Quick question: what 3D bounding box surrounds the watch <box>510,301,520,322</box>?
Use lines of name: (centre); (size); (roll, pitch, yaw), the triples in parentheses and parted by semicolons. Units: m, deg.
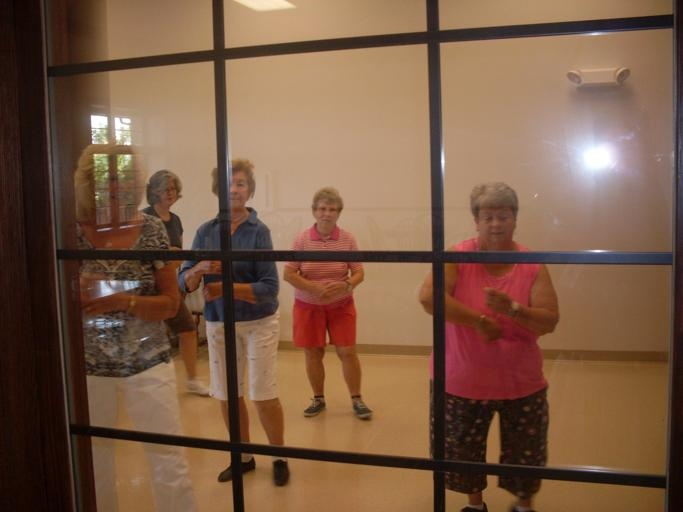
watch: (0.524, 0.166, 1.724); (0.044, 0.064, 0.017); (-1, 0, 11)

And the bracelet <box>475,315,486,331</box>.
bracelet: (0.422, 0.205, 1.739); (0.031, 0.037, 0.027); (-9, 6, -7)
